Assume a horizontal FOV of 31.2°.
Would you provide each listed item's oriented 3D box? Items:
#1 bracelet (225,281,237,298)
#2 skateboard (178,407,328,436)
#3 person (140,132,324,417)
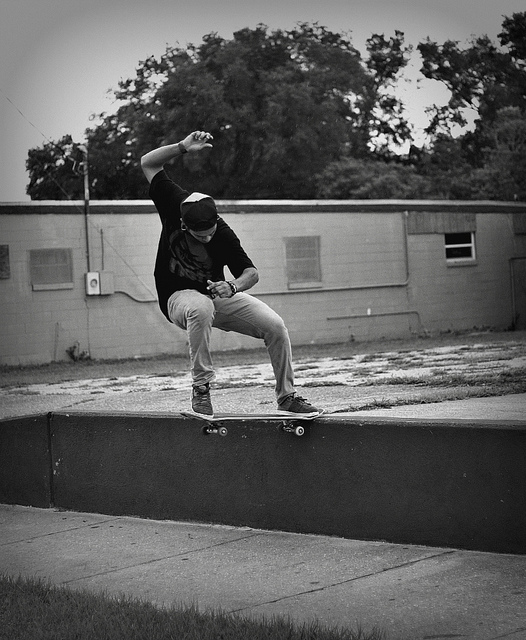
[{"bbox_3d":[-0.165,-0.163,4.837,0.049,0.075,0.134,-3,5,2],"label":"bracelet"},{"bbox_3d":[-0.068,0.535,5.055,0.828,0.175,0.359,-3,6,20],"label":"skateboard"},{"bbox_3d":[-0.221,-0.248,4.952,0.785,1.672,0.651,-12,-18,19],"label":"person"}]
